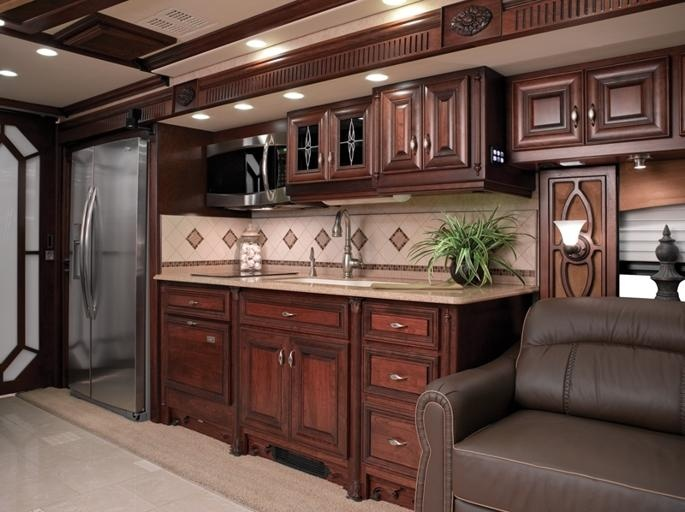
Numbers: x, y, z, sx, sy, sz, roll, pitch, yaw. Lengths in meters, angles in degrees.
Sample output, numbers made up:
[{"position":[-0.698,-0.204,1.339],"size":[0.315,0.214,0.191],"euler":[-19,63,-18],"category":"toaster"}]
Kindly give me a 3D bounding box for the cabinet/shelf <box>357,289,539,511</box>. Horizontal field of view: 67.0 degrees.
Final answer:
[{"position":[0.471,0.881,3.407],"size":[1.137,1.559,1.064],"euler":[9,-10,-44],"category":"cabinet/shelf"}]

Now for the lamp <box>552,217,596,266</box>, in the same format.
[{"position":[1.363,-0.090,3.038],"size":[0.248,0.279,0.233],"euler":[6,-5,-38],"category":"lamp"}]

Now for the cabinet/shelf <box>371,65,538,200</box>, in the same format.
[{"position":[0.662,-0.634,3.263],"size":[1.049,0.843,0.656],"euler":[-4,-7,43],"category":"cabinet/shelf"}]

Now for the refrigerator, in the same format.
[{"position":[-1.900,0.151,4.309],"size":[0.957,2.225,0.270],"euler":[4,7,37],"category":"refrigerator"}]

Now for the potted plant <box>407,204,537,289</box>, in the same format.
[{"position":[0.779,-0.061,3.381],"size":[0.578,0.332,0.564],"euler":[3,-4,-32],"category":"potted plant"}]

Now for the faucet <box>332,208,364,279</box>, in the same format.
[{"position":[0.044,-0.103,3.847],"size":[0.217,0.509,0.395],"euler":[0,5,1],"category":"faucet"}]

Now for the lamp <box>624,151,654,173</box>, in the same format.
[{"position":[1.572,-0.490,2.732],"size":[0.111,0.072,0.108],"euler":[2,-6,-18],"category":"lamp"}]
